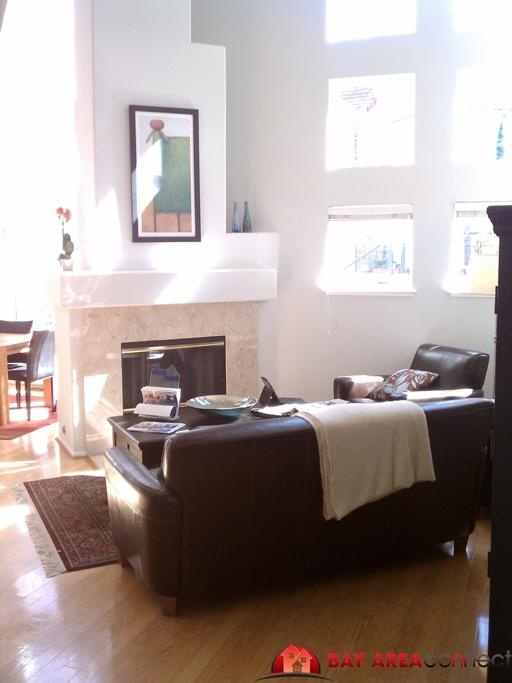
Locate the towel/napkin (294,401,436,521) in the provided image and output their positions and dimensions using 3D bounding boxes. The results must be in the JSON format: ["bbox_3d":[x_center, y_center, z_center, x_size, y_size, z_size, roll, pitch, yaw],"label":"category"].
[{"bbox_3d":[0.436,0.417,2.094,0.413,0.515,0.178,-2,-3,-18],"label":"towel/napkin"}]

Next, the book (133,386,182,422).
[{"bbox_3d":[-0.620,0.389,3.580,0.298,0.262,0.179,0,-3,23],"label":"book"}]

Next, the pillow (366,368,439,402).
[{"bbox_3d":[1.075,0.321,4.100,0.539,0.202,0.428,-3,4,-43],"label":"pillow"}]

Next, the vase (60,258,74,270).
[{"bbox_3d":[-1.477,-0.599,4.305,0.084,0.093,0.081,-2,3,-29],"label":"vase"}]

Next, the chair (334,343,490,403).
[{"bbox_3d":[1.249,0.205,4.006,0.602,0.561,0.656,5,-2,-26],"label":"chair"}]
